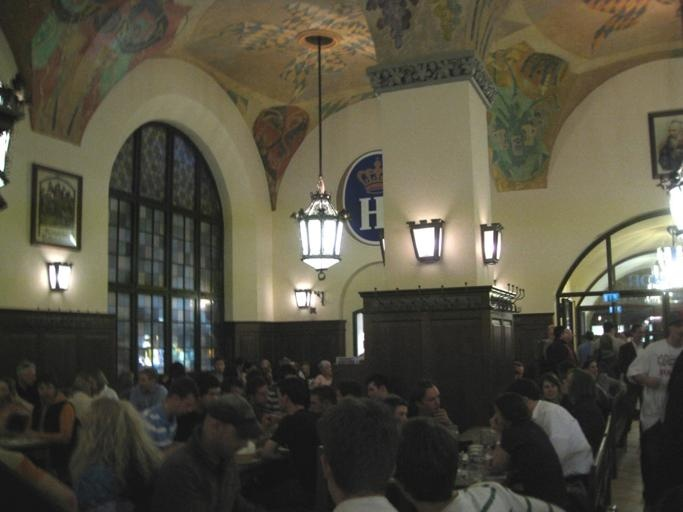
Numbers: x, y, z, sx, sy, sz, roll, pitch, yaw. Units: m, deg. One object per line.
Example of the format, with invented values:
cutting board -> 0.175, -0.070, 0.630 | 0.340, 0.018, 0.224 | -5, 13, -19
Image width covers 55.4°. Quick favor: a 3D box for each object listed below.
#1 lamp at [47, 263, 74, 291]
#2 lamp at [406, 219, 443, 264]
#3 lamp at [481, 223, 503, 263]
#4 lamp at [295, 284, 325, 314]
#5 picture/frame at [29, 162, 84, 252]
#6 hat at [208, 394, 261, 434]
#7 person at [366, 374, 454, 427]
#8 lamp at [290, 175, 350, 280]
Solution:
lamp -> -4.369, 0.324, 10.081 | 0.163, 0.454, 0.406 | -4, -7, 23
lamp -> 1.031, -0.146, 7.850 | 0.477, 0.534, 0.440 | -1, -8, 10
lamp -> 1.830, -0.169, 7.965 | 0.236, 0.507, 0.392 | -3, -6, 16
lamp -> -0.726, 1.008, 15.169 | 0.475, 0.551, 0.684 | -4, -16, 20
picture/frame -> -4.488, -0.751, 10.144 | 0.091, 1.489, 1.250 | -4, -8, 19
hat -> -0.685, 1.011, 4.106 | 0.346, 0.279, 0.169 | 0, -6, -13
person -> 0.650, 1.332, 6.527 | 0.800, 0.422, 0.538 | 9, -10, 21
lamp -> -0.309, -0.480, 9.745 | 0.819, 1.553, 0.750 | 3, -5, -35
